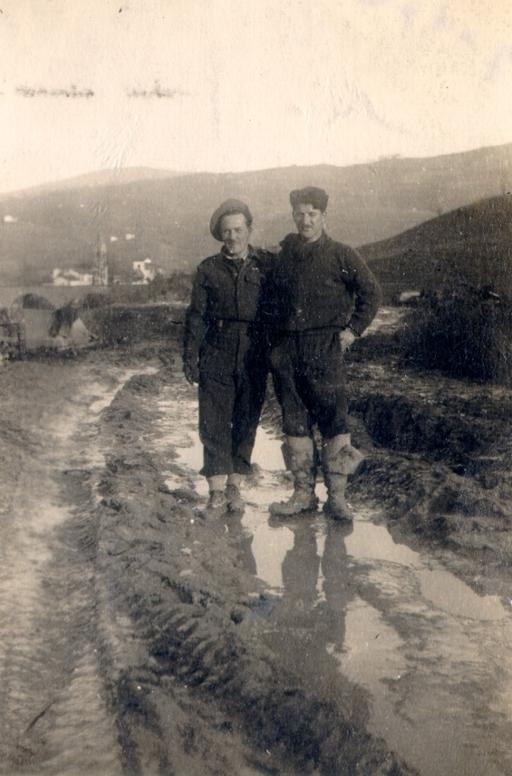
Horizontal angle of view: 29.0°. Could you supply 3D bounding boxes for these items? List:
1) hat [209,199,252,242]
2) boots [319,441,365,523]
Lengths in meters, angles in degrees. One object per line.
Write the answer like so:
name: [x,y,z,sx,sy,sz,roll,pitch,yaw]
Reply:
hat: [-0.120,-0.774,4.517,0.194,0.188,0.242,-1,10,12]
boots: [0.378,0.414,4.665,0.161,0.476,0.125,8,23,26]
